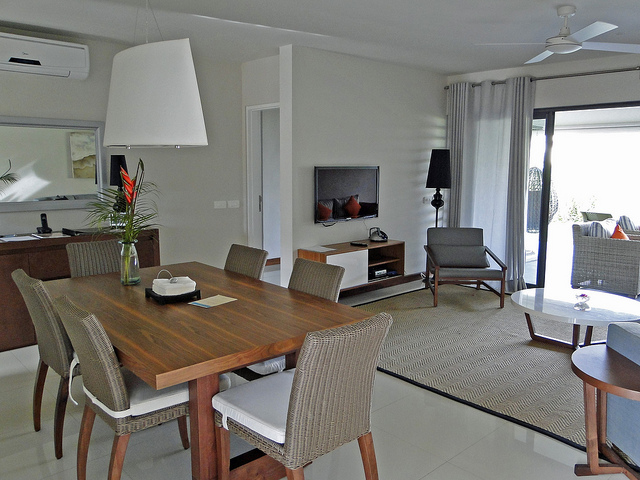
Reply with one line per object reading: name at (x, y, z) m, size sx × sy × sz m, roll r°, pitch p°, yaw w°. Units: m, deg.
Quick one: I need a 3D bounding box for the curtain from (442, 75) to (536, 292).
curtain at (2.554, -0.856, 6.845) m, size 0.467 × 3.049 × 1.440 m, roll -11°, pitch 17°, yaw -40°

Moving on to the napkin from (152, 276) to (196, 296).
napkin at (-1.018, 0.319, 3.183) m, size 0.242 × 0.070 × 0.264 m, roll -9°, pitch 16°, yaw -37°

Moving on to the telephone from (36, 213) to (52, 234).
telephone at (-2.875, -0.178, 4.765) m, size 0.121 × 0.180 × 0.268 m, roll -8°, pitch 15°, yaw -31°

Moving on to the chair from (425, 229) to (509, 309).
chair at (1.873, 0.317, 6.044) m, size 0.869 × 0.926 × 1.050 m, roll 0°, pitch 5°, yaw 5°

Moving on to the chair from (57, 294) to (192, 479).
chair at (-1.120, 0.813, 2.594) m, size 0.672 × 0.956 × 0.391 m, roll 7°, pitch 15°, yaw 26°

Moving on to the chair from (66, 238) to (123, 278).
chair at (-1.926, 0.165, 3.942) m, size 0.296 × 0.521 × 0.299 m, roll -6°, pitch 11°, yaw -38°

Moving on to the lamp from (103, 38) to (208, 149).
lamp at (-1.029, -0.879, 2.673) m, size 0.252 × 0.654 × 0.684 m, roll 14°, pitch 16°, yaw 35°

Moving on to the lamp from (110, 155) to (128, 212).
lamp at (-2.188, -0.624, 4.961) m, size 0.134 × 0.471 × 0.148 m, roll 2°, pitch 16°, yaw 13°

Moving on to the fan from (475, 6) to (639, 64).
fan at (2.418, -2.120, 4.649) m, size 0.850 × 0.309 × 0.868 m, roll 0°, pitch 4°, yaw 1°

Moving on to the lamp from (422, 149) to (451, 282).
lamp at (1.714, -0.329, 6.737) m, size 0.339 × 1.989 × 0.569 m, roll 6°, pitch 14°, yaw 23°

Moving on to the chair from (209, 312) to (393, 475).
chair at (-0.111, 0.878, 2.462) m, size 0.836 × 0.986 × 0.521 m, roll 6°, pitch 14°, yaw 25°
